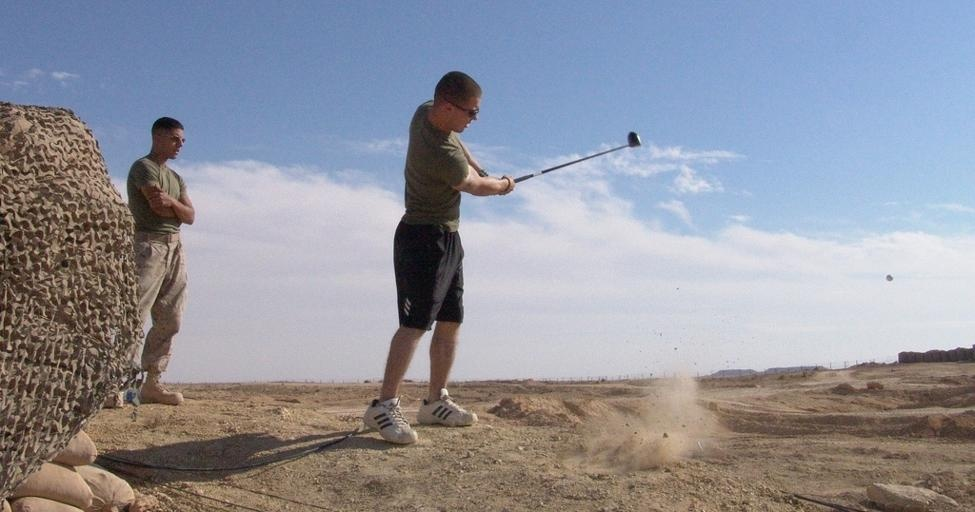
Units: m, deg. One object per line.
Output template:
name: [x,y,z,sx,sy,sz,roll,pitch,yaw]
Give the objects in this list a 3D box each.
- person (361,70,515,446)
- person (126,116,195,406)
person: [-0.602,0.001,7.349,1.227,4.097,0.719,2,5,-35]
person: [-3.991,0.106,7.862,0.677,3.543,0.638,1,5,-41]
